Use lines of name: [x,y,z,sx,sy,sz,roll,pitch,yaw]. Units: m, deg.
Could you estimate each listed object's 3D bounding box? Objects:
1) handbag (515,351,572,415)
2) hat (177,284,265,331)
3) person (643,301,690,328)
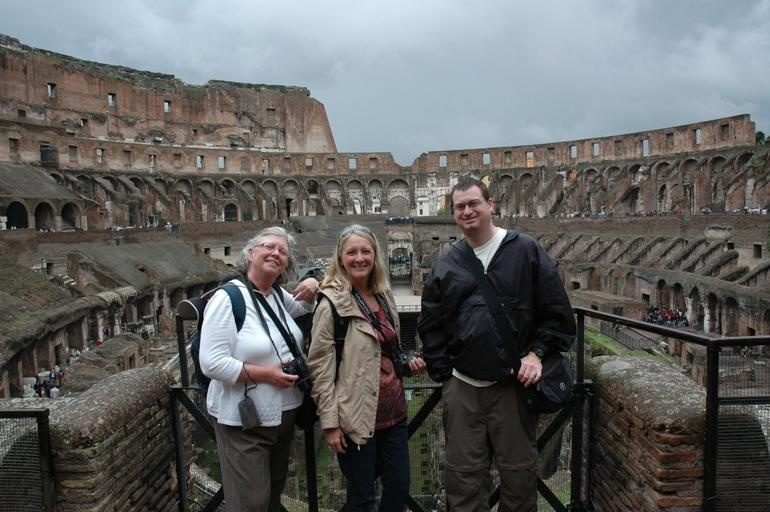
handbag: [1.509,1.125,5.815,0.482,0.709,0.905,-5,-8,32]
hat: [-1.551,0.463,5.657,0.381,0.541,0.507,1,3,27]
person: [8.964,2.000,19.659,1.139,0.488,1.947,3,2,18]
